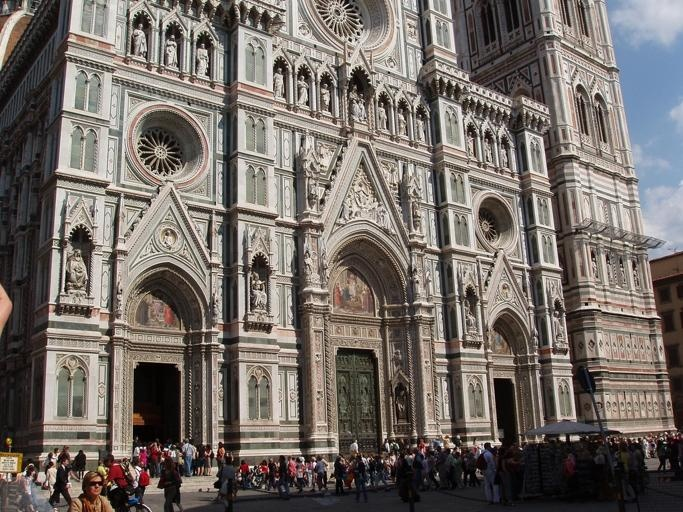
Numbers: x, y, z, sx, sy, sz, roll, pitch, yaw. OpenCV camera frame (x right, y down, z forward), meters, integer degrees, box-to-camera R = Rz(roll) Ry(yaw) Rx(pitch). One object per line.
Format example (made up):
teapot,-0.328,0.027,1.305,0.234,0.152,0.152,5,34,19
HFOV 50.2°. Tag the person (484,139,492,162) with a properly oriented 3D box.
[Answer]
person,9.142,-6.518,45.179,0.218,1.617,0.820,-18,-25,35

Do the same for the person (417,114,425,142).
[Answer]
person,4.587,-7.355,41.963,0.732,1.848,0.166,15,-27,-39

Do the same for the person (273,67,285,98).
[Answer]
person,-3.130,-8.793,37.079,0.240,1.832,0.773,-18,-25,35

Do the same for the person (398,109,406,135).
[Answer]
person,3.470,-7.529,41.268,0.228,1.661,0.825,-17,-24,32

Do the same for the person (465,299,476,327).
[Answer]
person,7.098,3.185,40.077,0.202,1.563,0.874,-18,-25,35

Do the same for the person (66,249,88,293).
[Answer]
person,-10.606,0.617,29.278,0.874,1.829,0.316,6,-22,-22

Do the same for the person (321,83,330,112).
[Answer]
person,-0.800,-8.371,38.596,0.266,1.727,0.725,-17,-25,32

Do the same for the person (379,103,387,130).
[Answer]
person,2.308,-7.711,40.484,0.227,1.691,0.844,-15,-24,29
